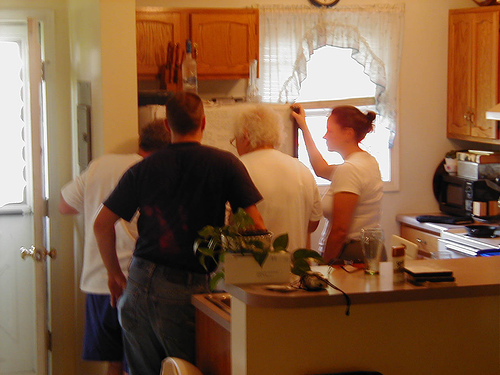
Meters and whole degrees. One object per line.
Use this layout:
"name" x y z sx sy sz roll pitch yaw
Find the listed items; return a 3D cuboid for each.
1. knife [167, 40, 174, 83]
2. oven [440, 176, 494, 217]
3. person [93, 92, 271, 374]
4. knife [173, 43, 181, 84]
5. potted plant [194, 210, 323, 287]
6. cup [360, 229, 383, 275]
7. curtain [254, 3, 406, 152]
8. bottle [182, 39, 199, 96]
"knife" -0.563 -0.888 3.431 0.045 0.276 0.109 0 8 -9
"oven" 1.870 0.001 4.190 0.278 0.327 0.498 0 7 -16
"person" -0.343 0.220 2.255 0.806 1.319 0.293 1 8 1
"knife" -0.517 -0.879 3.426 0.051 0.284 0.155 0 8 -8
"potted plant" 0.028 0.213 1.896 0.519 0.285 0.295 3 9 14
"cup" 0.502 0.258 1.987 0.089 0.188 0.067 2 8 6
"curtain" 0.621 -0.961 3.901 1.369 1.367 0.196 0 11 -3
"bottle" -0.378 -0.763 3.035 0.084 0.313 0.205 0 9 -9
